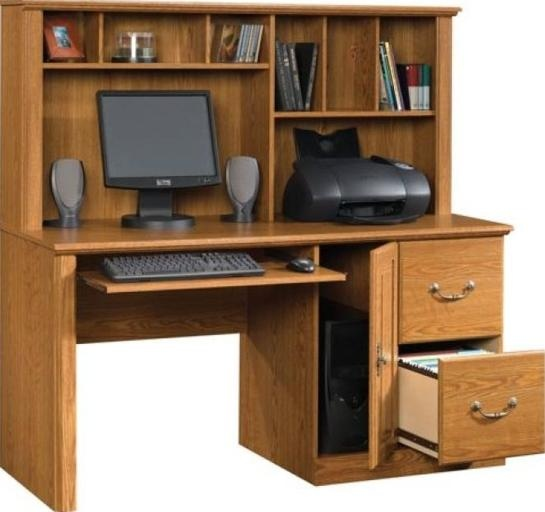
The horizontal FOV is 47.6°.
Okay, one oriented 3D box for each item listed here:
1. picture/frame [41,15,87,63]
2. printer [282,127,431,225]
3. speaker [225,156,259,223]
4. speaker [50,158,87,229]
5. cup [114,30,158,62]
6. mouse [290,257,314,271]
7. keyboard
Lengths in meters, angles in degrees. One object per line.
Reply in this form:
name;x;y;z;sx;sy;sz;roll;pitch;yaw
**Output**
picture/frame;-0.751;-0.787;2.224;0.200;0.171;0.042;-2;25;36
printer;0.291;-0.300;2.409;0.448;0.274;0.559;-3;9;-22
speaker;-0.114;-0.269;2.455;0.165;0.258;0.141;-6;7;-31
speaker;-0.740;-0.227;2.232;0.120;0.243;0.127;-5;7;-25
cup;-0.510;-0.768;2.285;0.156;0.087;0.139;0;5;-5
mouse;0.095;0.029;1.979;0.080;0.041;0.068;-2;6;2
keyboard;-0.285;0.031;1.898;0.453;0.067;0.293;-5;7;-24
